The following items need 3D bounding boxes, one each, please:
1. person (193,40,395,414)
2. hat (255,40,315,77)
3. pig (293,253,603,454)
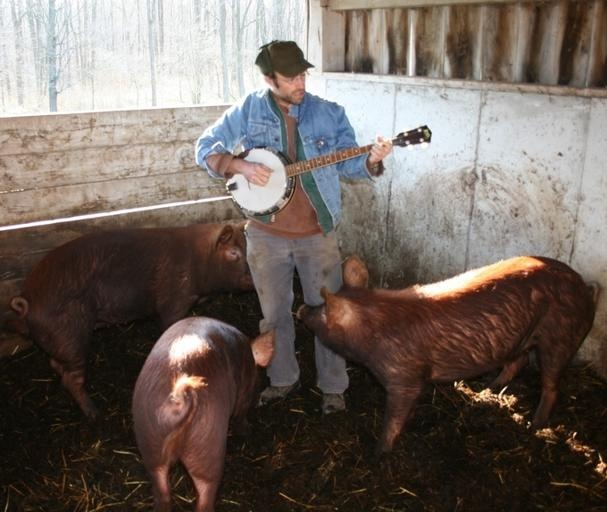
[{"bbox_3d":[-0.043,-0.131,3.681,1.087,2.366,0.616,0,18,5],"label":"person"},{"bbox_3d":[-0.127,-1.179,3.393,0.274,0.244,0.365,-24,23,-35],"label":"hat"},{"bbox_3d":[0.837,0.434,3.750,2.161,1.403,0.786,-7,13,2],"label":"pig"}]
